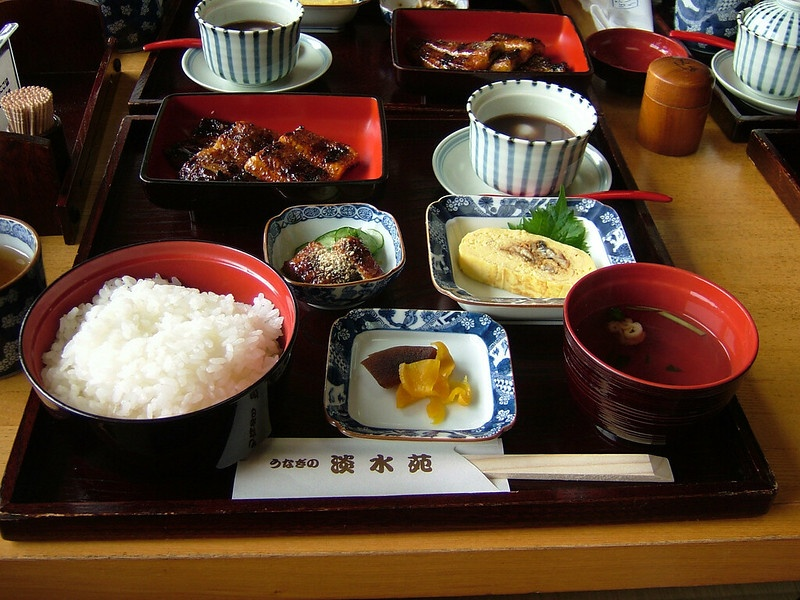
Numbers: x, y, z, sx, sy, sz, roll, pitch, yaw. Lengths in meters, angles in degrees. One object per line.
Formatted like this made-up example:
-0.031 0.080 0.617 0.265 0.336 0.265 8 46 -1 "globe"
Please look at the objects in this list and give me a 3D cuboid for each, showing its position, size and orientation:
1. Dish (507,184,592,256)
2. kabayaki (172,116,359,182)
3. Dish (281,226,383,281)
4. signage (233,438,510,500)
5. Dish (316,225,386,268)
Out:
0.405 -0.198 1.723 0.182 0.041 0.178 1 53 11 "Dish"
-0.402 -0.420 1.893 0.417 0.057 0.250 5 43 1 "kabayaki"
-0.172 -0.094 1.607 0.157 0.053 0.164 12 32 9 "Dish"
-0.075 0.352 1.359 0.424 0.018 0.121 -2 73 -4 "signage"
-0.130 -0.146 1.741 0.132 0.026 0.100 -4 39 -5 "Dish"
